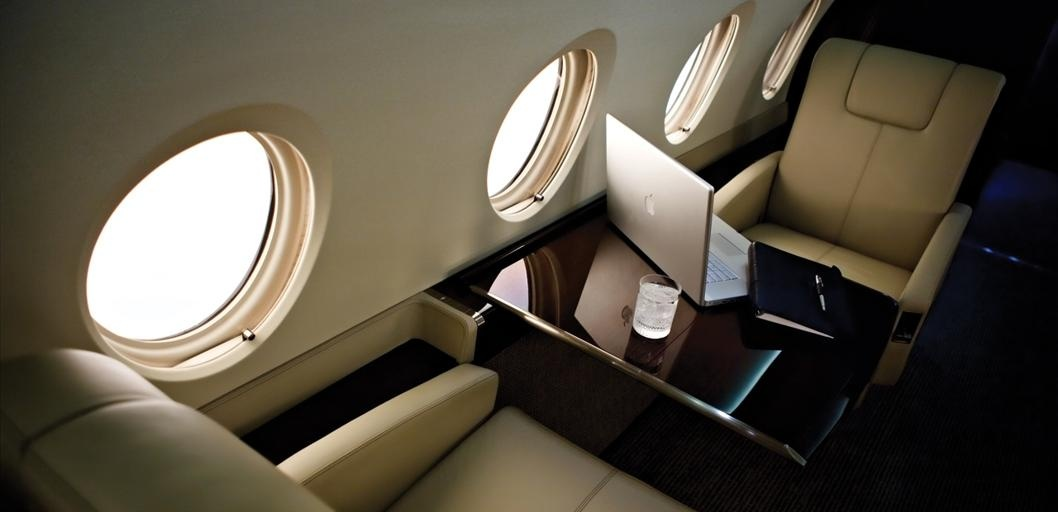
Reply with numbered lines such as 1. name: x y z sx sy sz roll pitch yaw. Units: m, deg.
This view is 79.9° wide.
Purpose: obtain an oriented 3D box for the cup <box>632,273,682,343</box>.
1. cup: 0.626 0.266 3.452 0.343 0.320 0.351 1 -56 2

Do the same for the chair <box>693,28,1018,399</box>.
1. chair: 2.158 -0.273 4.157 2.023 1.613 2.070 -49 -22 -31

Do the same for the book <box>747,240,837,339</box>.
1. book: 1.435 0.205 3.519 0.108 0.488 0.434 112 176 -58

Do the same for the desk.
1. desk: 1.068 0.249 3.383 1.316 2.029 0.447 -45 -28 -39
